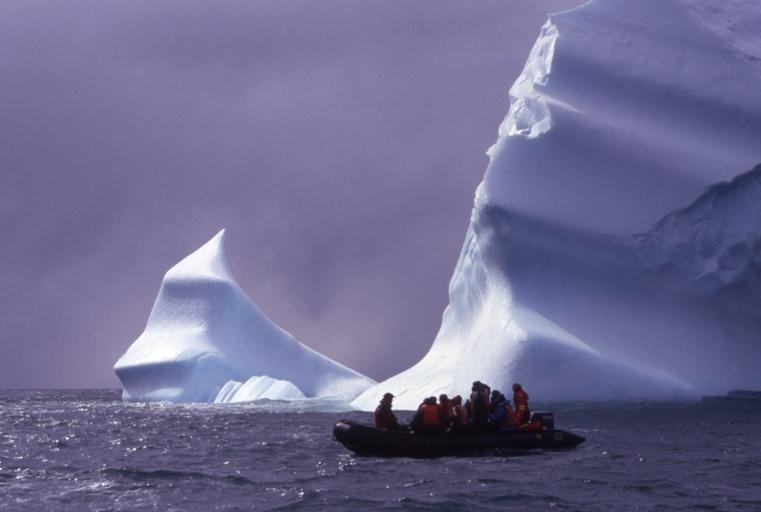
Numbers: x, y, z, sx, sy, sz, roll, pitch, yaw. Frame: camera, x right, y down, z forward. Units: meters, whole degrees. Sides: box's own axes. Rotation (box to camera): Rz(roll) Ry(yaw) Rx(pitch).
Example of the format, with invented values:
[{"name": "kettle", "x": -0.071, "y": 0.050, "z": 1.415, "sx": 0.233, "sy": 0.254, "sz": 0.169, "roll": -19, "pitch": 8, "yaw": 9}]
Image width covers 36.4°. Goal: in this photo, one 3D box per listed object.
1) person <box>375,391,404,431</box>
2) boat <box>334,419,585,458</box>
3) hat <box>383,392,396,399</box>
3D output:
[{"name": "person", "x": 0.266, "y": 6.047, "z": 44.329, "sx": 0.955, "sy": 1.591, "sz": 0.973, "roll": -4, "pitch": 10, "yaw": -31}, {"name": "boat", "x": 2.415, "y": 7.159, "z": 43.865, "sx": 5.823, "sy": 1.158, "sz": 3.416, "roll": 1, "pitch": -16, "yaw": -2}, {"name": "hat", "x": 0.385, "y": 5.373, "z": 44.133, "sx": 0.358, "sy": 0.196, "sz": 0.556, "roll": 1, "pitch": -3, "yaw": 22}]
